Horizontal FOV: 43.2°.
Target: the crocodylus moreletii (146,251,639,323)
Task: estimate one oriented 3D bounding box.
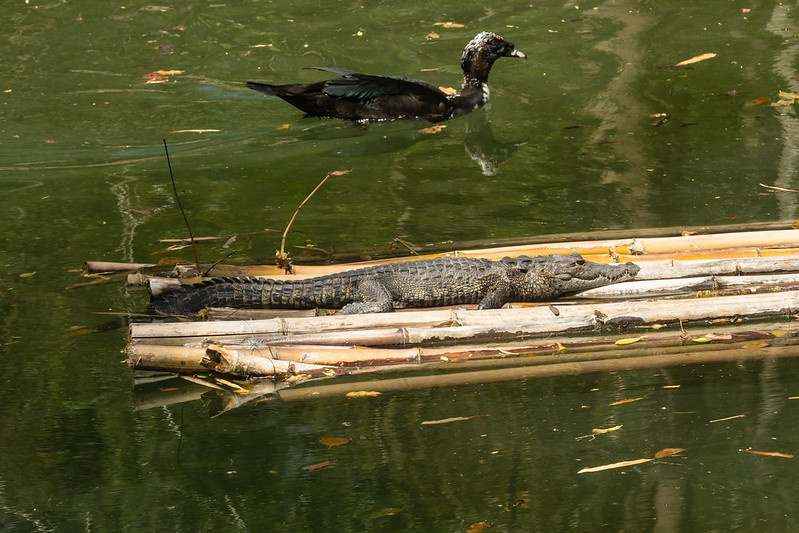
[{"bbox_3d":[-0.031,0.222,11.144,7.374,0.407,1.018,-2,32,-3],"label":"crocodylus moreletii"}]
